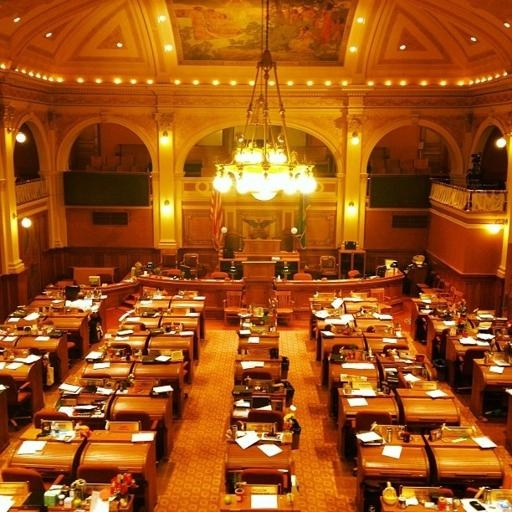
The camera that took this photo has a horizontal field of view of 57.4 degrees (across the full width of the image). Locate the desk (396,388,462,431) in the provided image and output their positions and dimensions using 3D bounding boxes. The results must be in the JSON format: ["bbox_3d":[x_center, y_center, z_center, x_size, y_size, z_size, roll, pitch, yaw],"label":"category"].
[{"bbox_3d":[2.687,2.428,7.392,0.899,0.407,0.914,0,9,11],"label":"desk"}]

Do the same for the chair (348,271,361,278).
[{"bbox_3d":[3.594,0.664,17.057,0.278,0.328,0.294,0,-3,0],"label":"chair"}]

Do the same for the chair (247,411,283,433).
[{"bbox_3d":[0.147,2.303,6.678,0.333,0.339,0.330,3,9,8],"label":"chair"}]

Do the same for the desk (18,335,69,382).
[{"bbox_3d":[-4.496,2.148,9.848,1.196,1.036,0.666,0,1,4],"label":"desk"}]

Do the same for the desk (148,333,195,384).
[{"bbox_3d":[-1.716,2.127,10.346,1.283,1.126,0.883,0,3,5],"label":"desk"}]

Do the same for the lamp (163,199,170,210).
[{"bbox_3d":[-3.572,-2.078,18.829,0.253,0.317,0.107,3,5,3],"label":"lamp"}]

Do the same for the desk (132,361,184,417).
[{"bbox_3d":[-1.718,2.251,8.096,1.117,0.978,0.616,-1,2,1],"label":"desk"}]

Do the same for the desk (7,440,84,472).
[{"bbox_3d":[-2.568,2.457,5.800,0.566,0.246,0.349,3,17,8],"label":"desk"}]

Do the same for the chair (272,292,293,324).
[{"bbox_3d":[0.886,1.663,14.929,0.657,1.061,0.647,-1,10,2],"label":"chair"}]

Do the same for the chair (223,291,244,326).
[{"bbox_3d":[-0.717,1.663,14.950,0.648,1.086,0.541,-2,10,-3],"label":"chair"}]

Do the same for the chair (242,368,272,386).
[{"bbox_3d":[0.010,2.095,8.150,0.309,0.379,0.267,1,-20,3],"label":"chair"}]

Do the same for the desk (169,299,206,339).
[{"bbox_3d":[-2.023,1.744,13.016,1.129,1.309,0.980,1,17,1],"label":"desk"}]

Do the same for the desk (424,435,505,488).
[{"bbox_3d":[2.591,2.617,5.823,0.859,0.384,0.457,-2,9,0],"label":"desk"}]

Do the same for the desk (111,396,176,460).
[{"bbox_3d":[-1.663,2.463,6.800,1.017,0.887,0.730,3,16,5],"label":"desk"}]

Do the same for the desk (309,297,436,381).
[{"bbox_3d":[2.321,1.943,11.239,1.577,0.823,2.892,0,5,4],"label":"desk"}]
